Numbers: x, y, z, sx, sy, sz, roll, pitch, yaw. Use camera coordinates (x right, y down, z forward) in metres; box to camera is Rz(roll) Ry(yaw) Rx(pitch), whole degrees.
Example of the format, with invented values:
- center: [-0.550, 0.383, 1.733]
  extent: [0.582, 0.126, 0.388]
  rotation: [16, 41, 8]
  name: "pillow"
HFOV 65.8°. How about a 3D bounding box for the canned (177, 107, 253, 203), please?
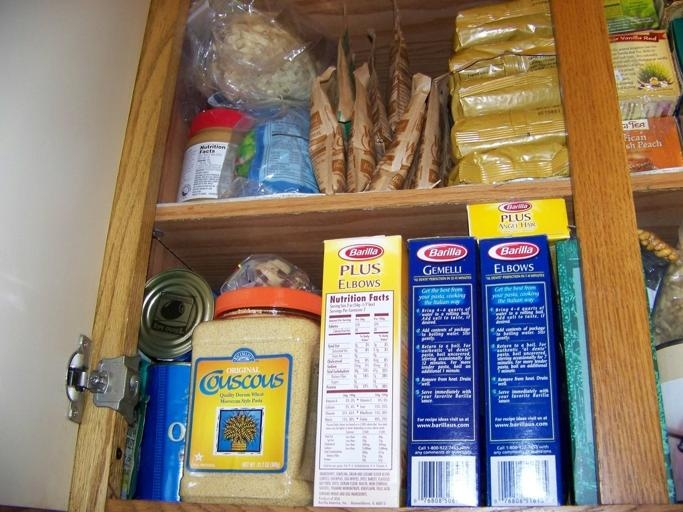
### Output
- center: [-0.232, -0.173, 1.038]
  extent: [0.124, 0.184, 0.124]
  rotation: [2, -7, 6]
  name: "canned"
